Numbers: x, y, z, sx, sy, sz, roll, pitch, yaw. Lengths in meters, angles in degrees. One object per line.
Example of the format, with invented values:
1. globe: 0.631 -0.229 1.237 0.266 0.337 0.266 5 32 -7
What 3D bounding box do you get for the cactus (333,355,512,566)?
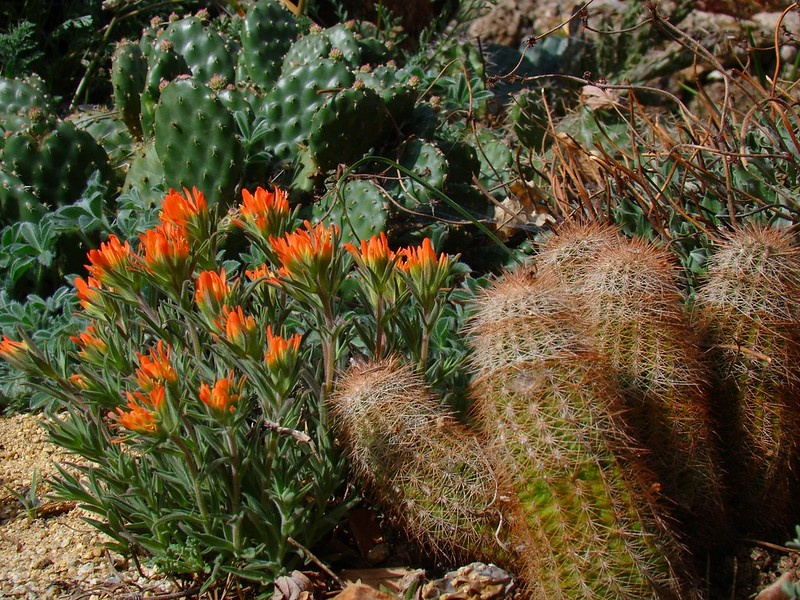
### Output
1. cactus: 0.056 0.438 2.220 0.336 0.263 0.606 -37 72 -9
